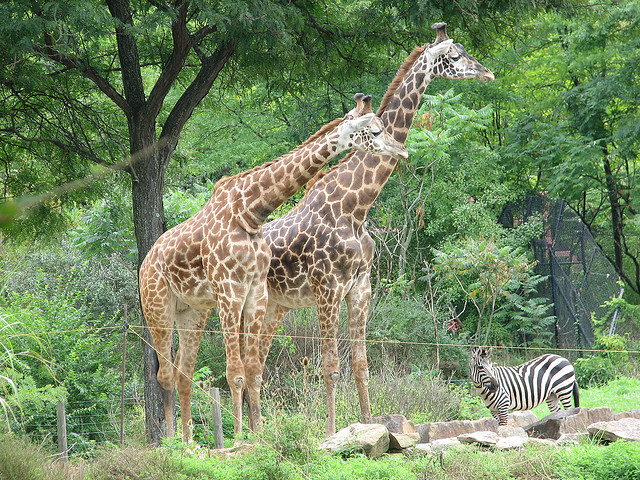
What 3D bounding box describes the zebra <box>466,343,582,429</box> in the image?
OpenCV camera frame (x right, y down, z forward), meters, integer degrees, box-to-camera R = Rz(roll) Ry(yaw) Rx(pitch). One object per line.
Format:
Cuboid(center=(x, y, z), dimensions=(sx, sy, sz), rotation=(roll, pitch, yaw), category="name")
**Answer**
Cuboid(center=(3.393, 2.525, 13.303), dimensions=(2.169, 1.658, 0.687), rotation=(-2, 7, -14), category="zebra")
